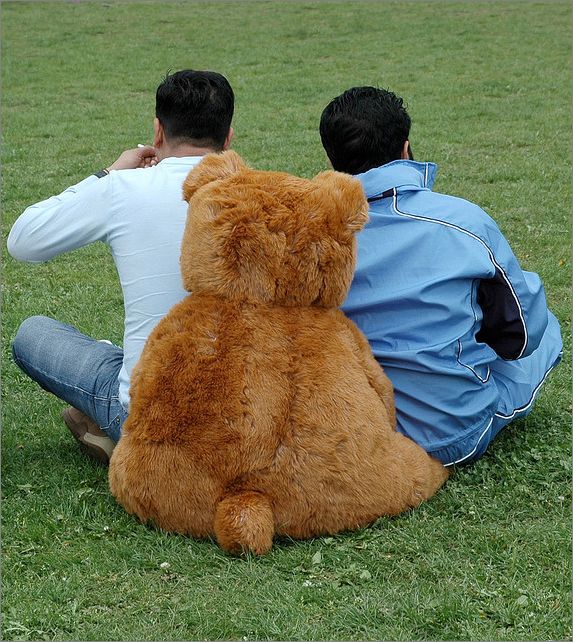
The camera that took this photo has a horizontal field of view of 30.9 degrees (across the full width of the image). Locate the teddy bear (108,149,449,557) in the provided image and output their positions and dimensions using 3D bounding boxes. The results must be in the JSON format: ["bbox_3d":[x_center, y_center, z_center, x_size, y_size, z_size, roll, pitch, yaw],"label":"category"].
[{"bbox_3d":[-0.259,0.132,4.670,1.958,1.632,1.455,5,9,-17],"label":"teddy bear"}]
